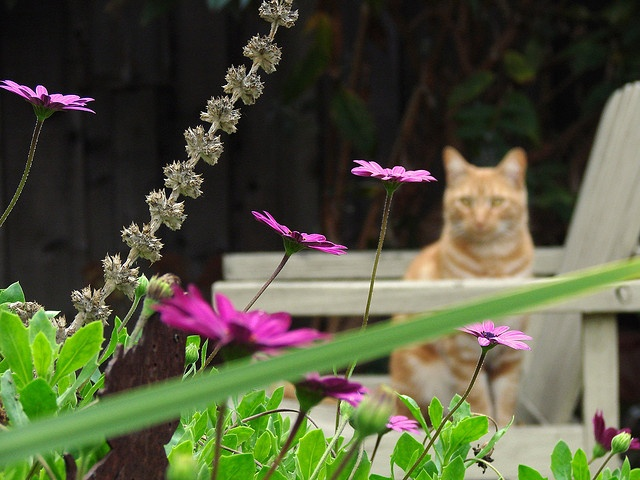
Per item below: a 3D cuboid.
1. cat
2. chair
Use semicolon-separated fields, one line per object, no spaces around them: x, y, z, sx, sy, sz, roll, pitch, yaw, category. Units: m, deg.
0.398;0.148;2.822;0.397;0.893;0.757;3;11;4;cat
0.308;0.145;3.017;1.149;1.314;0.928;1;1;3;chair
